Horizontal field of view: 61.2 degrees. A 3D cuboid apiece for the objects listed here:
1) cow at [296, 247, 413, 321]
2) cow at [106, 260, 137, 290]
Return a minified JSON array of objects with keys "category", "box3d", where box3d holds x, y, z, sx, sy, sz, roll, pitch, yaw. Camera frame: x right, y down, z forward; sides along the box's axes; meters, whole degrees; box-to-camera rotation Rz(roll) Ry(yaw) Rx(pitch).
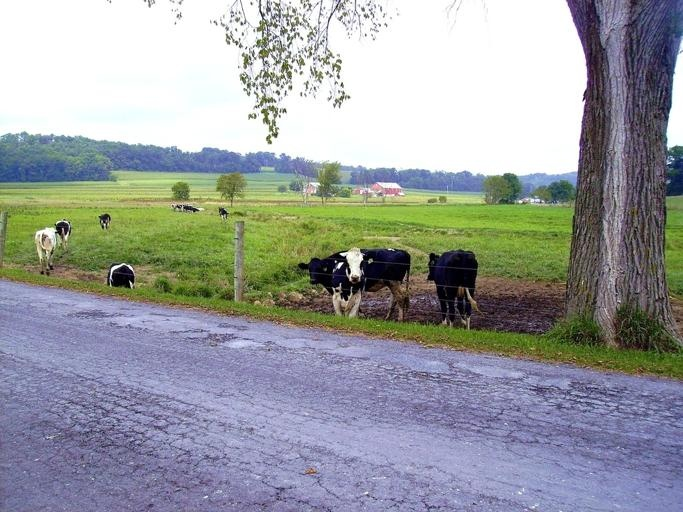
[{"category":"cow","box3d":[0.510,0.726,15.774,2.583,1.895,1.923,3,11,12]},{"category":"cow","box3d":[-6.676,0.578,17.554,0.568,0.969,1.650,2,4,-25]}]
